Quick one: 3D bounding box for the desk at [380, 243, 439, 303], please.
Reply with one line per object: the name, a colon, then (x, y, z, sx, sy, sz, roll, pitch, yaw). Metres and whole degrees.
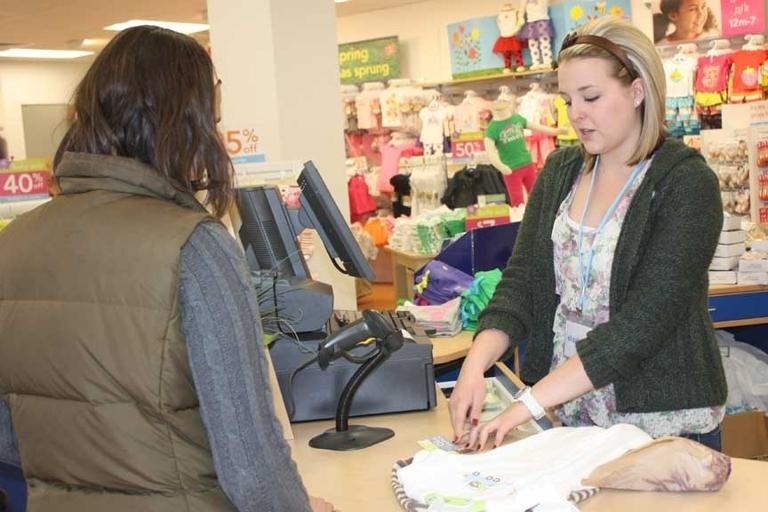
desk: (0.258, 0.161, 5.188, 0.430, 0.570, 0.605, -2, 7, -17)

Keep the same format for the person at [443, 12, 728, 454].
person: (0.542, -0.033, 1.891, 0.821, 1.339, 0.570, -8, 11, -9)

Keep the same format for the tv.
tv: (-0.193, -0.095, 2.116, 0.102, 0.342, 0.503, -17, 37, -22)
